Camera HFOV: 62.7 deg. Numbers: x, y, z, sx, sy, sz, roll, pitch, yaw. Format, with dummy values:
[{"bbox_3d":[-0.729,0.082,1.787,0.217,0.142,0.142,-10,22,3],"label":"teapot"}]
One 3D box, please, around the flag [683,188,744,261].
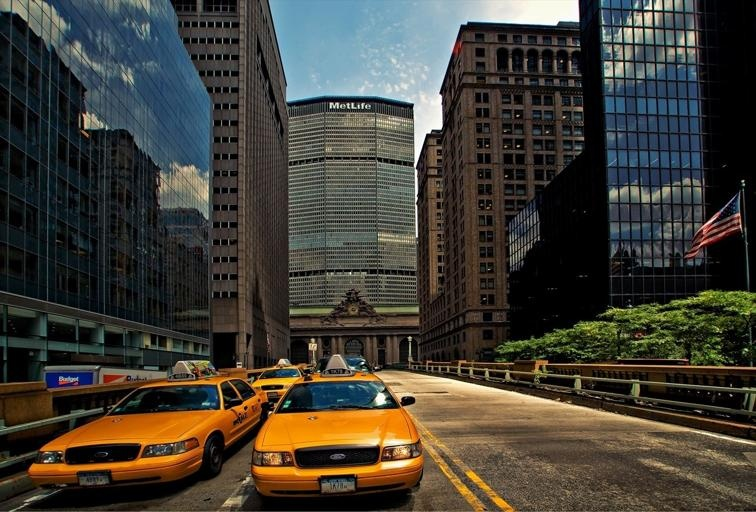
[{"bbox_3d":[29.451,-2.436,54.327,0.678,6.377,6.270,19,-33,-24],"label":"flag"}]
